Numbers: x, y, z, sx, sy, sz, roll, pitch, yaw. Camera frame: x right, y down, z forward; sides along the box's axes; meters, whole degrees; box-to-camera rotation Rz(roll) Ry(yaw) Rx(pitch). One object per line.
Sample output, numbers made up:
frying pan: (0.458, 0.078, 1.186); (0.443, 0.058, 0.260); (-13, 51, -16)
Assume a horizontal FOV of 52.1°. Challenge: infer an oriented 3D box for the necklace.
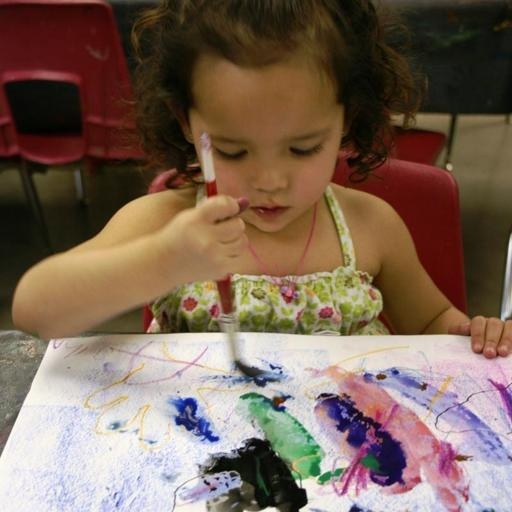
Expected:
necklace: (0.048, -0.010, 0.818); (0.127, 0.118, 0.090); (-7, 29, -25)
